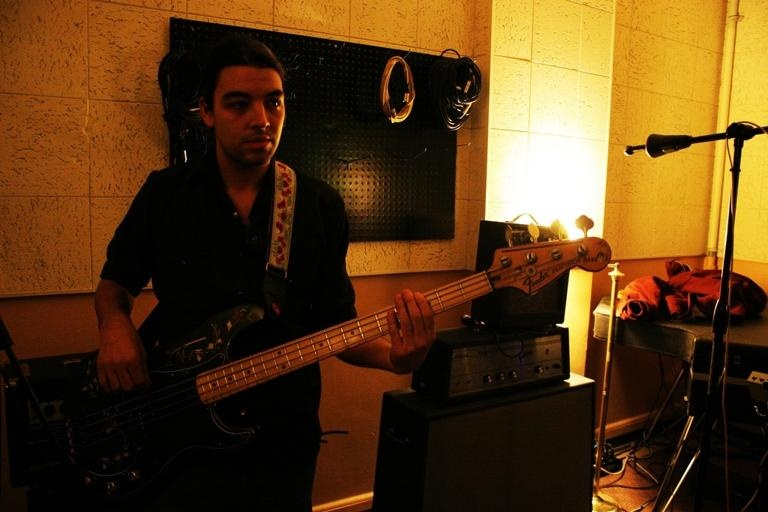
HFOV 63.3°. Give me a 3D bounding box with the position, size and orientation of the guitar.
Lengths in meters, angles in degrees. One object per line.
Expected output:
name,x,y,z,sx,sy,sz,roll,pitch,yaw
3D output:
guitar,-0.349,0.470,2.648,1.944,0.940,0.174,-3,7,-4

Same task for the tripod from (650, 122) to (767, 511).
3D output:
tripod,1.854,0.431,3.694,0.639,2.356,1.182,0,7,22
